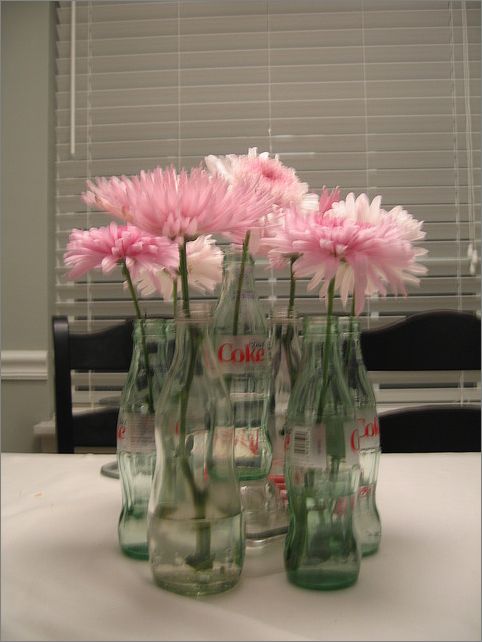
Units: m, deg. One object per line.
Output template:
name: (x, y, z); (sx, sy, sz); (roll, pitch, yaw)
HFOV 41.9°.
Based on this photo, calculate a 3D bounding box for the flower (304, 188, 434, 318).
flower: (0.079, -0.048, 0.480); (0.100, 0.109, 0.094); (10, 8, 20)

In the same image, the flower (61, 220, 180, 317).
flower: (-0.086, -0.038, 0.498); (0.067, 0.083, 0.071); (-11, 25, -29)

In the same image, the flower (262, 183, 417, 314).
flower: (0.065, -0.042, 0.457); (0.075, 0.063, 0.077); (-10, -12, 36)

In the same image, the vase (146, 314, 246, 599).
vase: (-0.032, 0.094, 0.442); (0.068, 0.202, 0.031); (-1, 2, -7)

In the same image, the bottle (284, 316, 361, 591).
bottle: (0.059, 0.096, 0.455); (0.055, 0.199, 0.032); (0, 2, 6)
